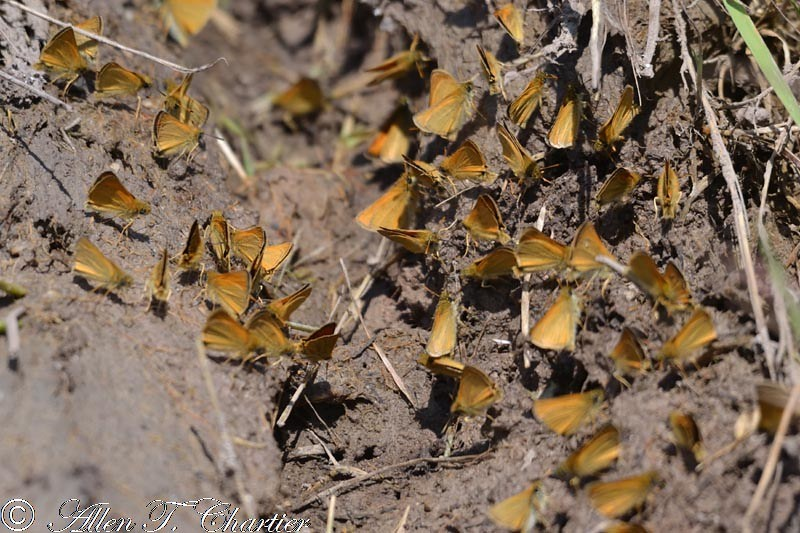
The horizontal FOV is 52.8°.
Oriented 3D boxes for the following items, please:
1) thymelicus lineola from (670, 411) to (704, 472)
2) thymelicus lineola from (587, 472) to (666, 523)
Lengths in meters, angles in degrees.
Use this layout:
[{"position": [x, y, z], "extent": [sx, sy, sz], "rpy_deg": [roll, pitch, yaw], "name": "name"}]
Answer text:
[{"position": [2.088, 1.263, 5.838], "extent": [0.365, 0.208, 0.081], "rpy_deg": [67, 15, 0], "name": "thymelicus lineola"}, {"position": [1.626, 1.648, 5.841], "extent": [0.434, 0.175, 0.328], "rpy_deg": [-43, 102, 0], "name": "thymelicus lineola"}]
